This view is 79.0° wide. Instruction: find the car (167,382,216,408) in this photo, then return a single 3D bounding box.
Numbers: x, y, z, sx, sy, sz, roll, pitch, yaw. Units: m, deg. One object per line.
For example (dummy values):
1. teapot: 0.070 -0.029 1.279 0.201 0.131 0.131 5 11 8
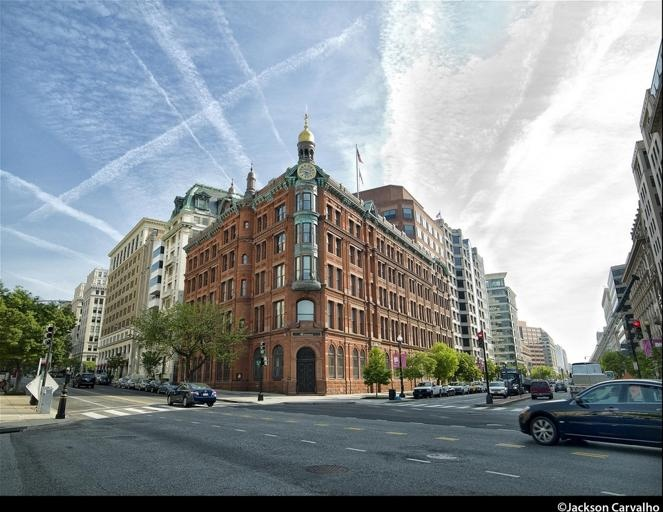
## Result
1. car: -10.028 9.929 28.808 4.140 1.627 2.623 -15 -24 33
